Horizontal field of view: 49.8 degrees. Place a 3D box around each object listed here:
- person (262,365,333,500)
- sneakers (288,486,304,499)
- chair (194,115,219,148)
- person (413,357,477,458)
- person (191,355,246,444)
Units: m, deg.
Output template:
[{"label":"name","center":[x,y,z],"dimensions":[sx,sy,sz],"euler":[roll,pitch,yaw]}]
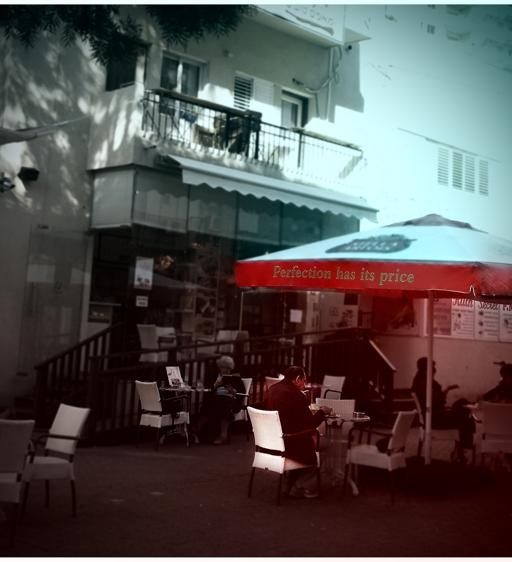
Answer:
[{"label":"person","center":[0.453,1.671,6.156],"dimensions":[0.758,1.396,0.644],"euler":[4,-6,-22]},{"label":"sneakers","center":[0.444,2.320,6.051],"dimensions":[0.103,0.076,0.115],"euler":[-3,3,7]},{"label":"chair","center":[-1.009,-3.071,11.414],"dimensions":[0.471,0.551,0.300],"euler":[0,-6,-27]},{"label":"person","center":[3.155,1.774,8.871],"dimensions":[0.814,0.664,1.632],"euler":[-10,13,28]},{"label":"person","center":[-0.667,2.134,9.681],"dimensions":[0.642,1.629,0.906],"euler":[-18,-38,36]}]
